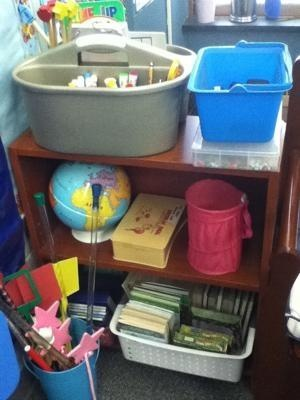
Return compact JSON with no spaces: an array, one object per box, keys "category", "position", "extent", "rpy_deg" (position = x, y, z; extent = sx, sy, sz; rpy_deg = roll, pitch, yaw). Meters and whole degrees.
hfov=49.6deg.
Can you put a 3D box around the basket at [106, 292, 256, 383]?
[{"category":"basket","position":[0.123,0.386,1.159],"extent":[0.452,0.184,0.392],"rpy_deg":[7,43,7]}]

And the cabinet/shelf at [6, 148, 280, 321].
[{"category":"cabinet/shelf","position":[-0.045,-0.017,0.958],"extent":[0.590,0.474,0.339],"rpy_deg":[6,39,11]}]

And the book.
[{"category":"book","position":[0.098,0.376,1.092],"extent":[0.399,0.142,0.343],"rpy_deg":[7,35,12]}]

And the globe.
[{"category":"globe","position":[-0.184,-0.012,1.010],"extent":[0.194,0.255,0.207],"rpy_deg":[-3,37,-6]}]

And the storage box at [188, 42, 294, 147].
[{"category":"storage box","position":[0.201,-0.253,0.712],"extent":[0.213,0.151,0.315],"rpy_deg":[0,48,14]}]
